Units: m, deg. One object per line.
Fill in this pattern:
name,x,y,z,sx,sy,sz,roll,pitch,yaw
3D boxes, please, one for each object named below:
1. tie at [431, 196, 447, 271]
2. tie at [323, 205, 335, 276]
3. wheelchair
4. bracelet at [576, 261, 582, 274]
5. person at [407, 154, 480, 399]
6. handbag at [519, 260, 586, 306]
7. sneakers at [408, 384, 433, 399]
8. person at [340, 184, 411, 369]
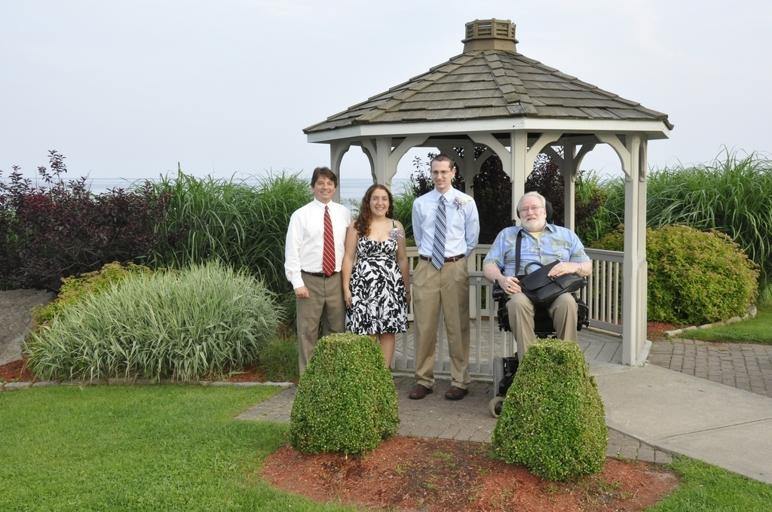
tie,0.667,-0.304,7.257,0.167,0.902,0.242,3,12,16
tie,-0.759,-0.190,7.516,0.160,0.873,0.216,-1,11,-2
wheelchair,1.730,0.563,6.779,1.205,2.550,0.989,1,11,10
bracelet,2.247,0.132,6.736,0.073,0.110,0.103,8,15,14
person,0.716,0.276,7.333,0.836,3.063,0.656,1,11,9
handbag,1.873,0.303,6.560,0.564,0.220,0.446,-27,43,-14
sneakers,0.412,1.736,7.435,0.132,0.147,0.347,-2,-7,20
person,-0.142,0.039,7.349,0.845,1.856,0.523,-2,11,-5
